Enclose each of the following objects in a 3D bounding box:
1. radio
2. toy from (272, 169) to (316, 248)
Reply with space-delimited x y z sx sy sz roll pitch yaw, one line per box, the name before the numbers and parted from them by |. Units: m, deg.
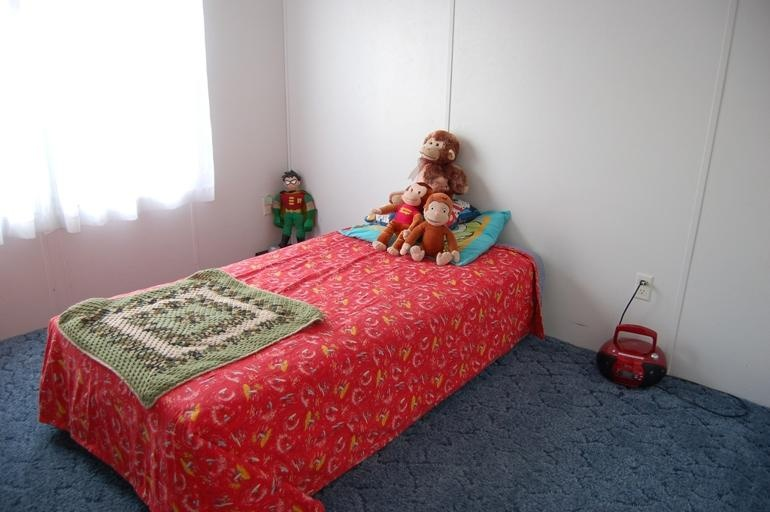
radio | 1.508 0.583 3.077 0.411 0.369 0.370 16 29 25
toy | -0.775 -0.411 4.343 0.320 0.745 0.319 13 24 33
